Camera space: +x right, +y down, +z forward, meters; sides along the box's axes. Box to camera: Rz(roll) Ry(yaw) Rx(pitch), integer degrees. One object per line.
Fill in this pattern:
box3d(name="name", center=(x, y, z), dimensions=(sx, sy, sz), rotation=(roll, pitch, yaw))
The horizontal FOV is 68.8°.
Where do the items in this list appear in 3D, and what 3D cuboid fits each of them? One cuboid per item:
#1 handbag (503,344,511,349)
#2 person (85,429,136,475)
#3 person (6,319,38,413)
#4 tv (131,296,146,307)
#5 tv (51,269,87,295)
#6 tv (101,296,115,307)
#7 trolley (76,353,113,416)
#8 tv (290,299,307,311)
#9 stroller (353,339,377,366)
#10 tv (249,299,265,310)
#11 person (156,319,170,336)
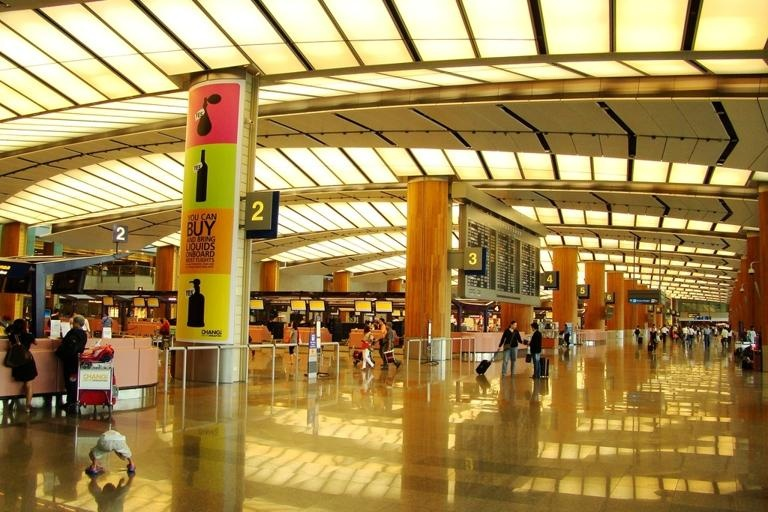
box3d(name="handbag", center=(4.226, 3.183, 19.578), dimensions=(0.232, 0.126, 0.235), rotation=(5, -7, -42))
box3d(name="person", center=(-4.164, 3.035, 8.550), dimensions=(0.887, 0.531, 0.330), rotation=(3, 2, 8))
box3d(name="person", center=(-7.757, 2.321, 12.007), dimensions=(0.666, 1.932, 0.686), rotation=(7, -12, -27))
box3d(name="tv", center=(-15.594, 2.887, 35.654), dimensions=(1.262, 0.546, 0.420), rotation=(-7, -12, 42))
box3d(name="tv", center=(-8.851, 0.716, 15.739), dimensions=(1.445, 0.666, 0.194), rotation=(3, -7, 33))
box3d(name="tv", center=(-18.051, 2.978, 36.914), dimensions=(0.705, 0.535, 0.657), rotation=(-6, 4, -36))
box3d(name="trolley", center=(-6.067, 2.831, 12.293), dimensions=(1.250, 1.042, 1.079), rotation=(1, -6, -20))
box3d(name="tv", center=(-5.555, 3.193, 36.555), dimensions=(1.109, 0.555, 0.109), rotation=(1, -10, 20))
box3d(name="stroller", center=(-1.040, 3.848, 22.012), dimensions=(1.012, 0.821, 1.584), rotation=(1, -4, 11))
box3d(name="tv", center=(-8.517, 3.235, 37.635), dimensions=(0.841, 0.680, 0.901), rotation=(3, -9, -12))
box3d(name="person", center=(-9.407, 3.068, 24.029), dimensions=(0.441, 0.735, 1.870), rotation=(5, -9, -22))
